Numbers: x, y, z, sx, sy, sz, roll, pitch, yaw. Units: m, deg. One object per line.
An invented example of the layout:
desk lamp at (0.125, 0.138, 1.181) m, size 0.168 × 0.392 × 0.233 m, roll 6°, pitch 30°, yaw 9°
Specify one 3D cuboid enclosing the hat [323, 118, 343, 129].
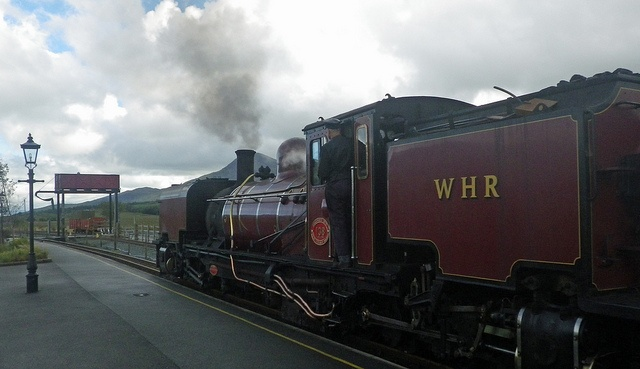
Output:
hat at (0.271, -1.282, 9.398) m, size 0.270 × 0.138 × 0.269 m, roll 3°, pitch 4°, yaw 31°
